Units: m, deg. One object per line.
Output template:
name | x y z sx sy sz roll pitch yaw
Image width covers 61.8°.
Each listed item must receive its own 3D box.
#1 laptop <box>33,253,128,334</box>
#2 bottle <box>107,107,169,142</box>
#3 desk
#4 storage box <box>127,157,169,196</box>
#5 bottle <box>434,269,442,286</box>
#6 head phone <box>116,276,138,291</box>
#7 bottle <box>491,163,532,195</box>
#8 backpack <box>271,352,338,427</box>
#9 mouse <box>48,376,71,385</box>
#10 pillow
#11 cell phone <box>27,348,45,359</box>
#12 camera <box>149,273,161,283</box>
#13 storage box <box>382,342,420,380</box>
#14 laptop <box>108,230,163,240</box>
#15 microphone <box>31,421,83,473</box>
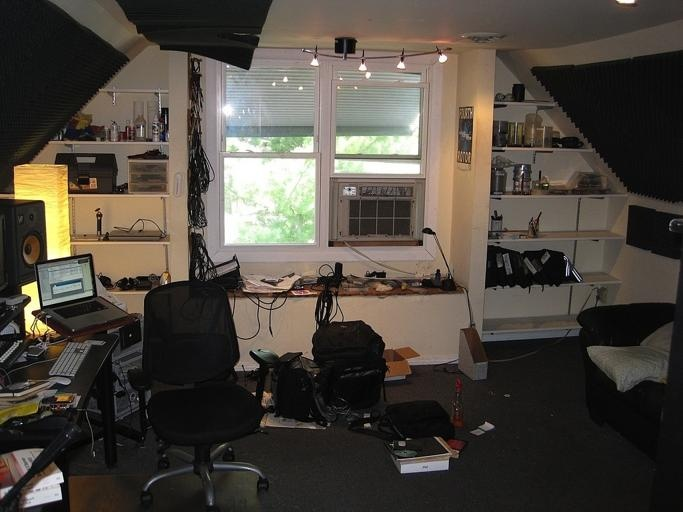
laptop | -1.825 0.254 3.998 0.494 0.414 0.477 16 19 29
bottle | -1.813 -1.170 5.090 0.511 0.295 0.302 -4 11 -16
desk | -1.611 0.923 3.248 0.512 0.709 1.014 -1 7 -8
storage box | -1.715 -0.713 5.036 0.332 0.310 0.128 0 9 -6
bottle | 0.960 0.206 5.658 0.072 0.138 0.160 1 10 9
head phone | -1.992 0.245 5.253 0.115 0.068 0.157 -2 8 -30
bottle | 1.644 -0.752 5.584 0.523 0.376 0.275 -1 10 -4
backpack | -0.288 1.057 4.615 0.575 0.494 0.457 5 -3 -3
mouse | -1.627 0.712 3.293 0.114 0.040 0.123 -6 11 -23
pillow | 2.290 0.802 4.347 0.640 0.329 0.520 -3 10 -11
cell phone | -1.924 0.605 3.562 0.069 0.017 0.073 5 10 18
camera | -1.750 0.198 5.348 0.063 0.108 0.109 3 23 1
storage box | 0.494 0.981 5.313 0.393 0.181 0.425 -17 9 -39
laptop | -1.864 -0.189 5.182 0.484 0.079 0.362 -4 11 -17
microphone | -1.207 0.794 2.404 0.195 0.200 0.152 -5 11 -23
